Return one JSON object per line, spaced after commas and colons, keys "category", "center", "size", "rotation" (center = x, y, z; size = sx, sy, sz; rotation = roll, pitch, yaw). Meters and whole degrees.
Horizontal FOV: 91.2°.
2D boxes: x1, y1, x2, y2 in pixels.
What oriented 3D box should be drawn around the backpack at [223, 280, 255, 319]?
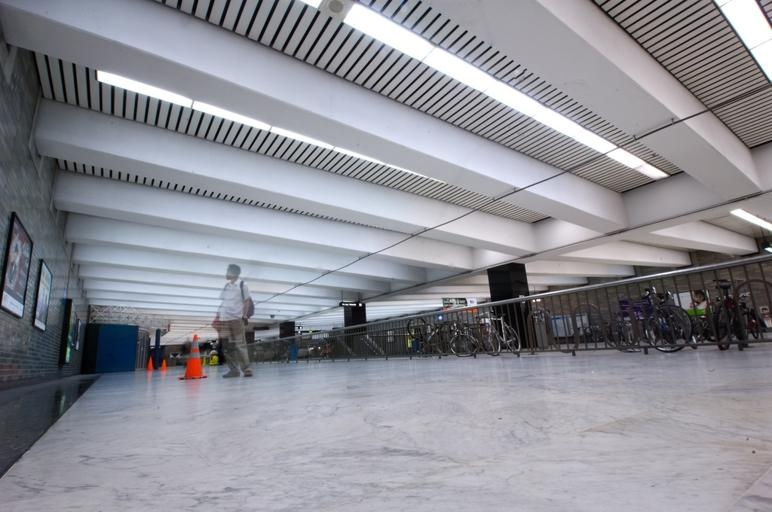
{"category": "backpack", "center": [-2.710, 0.800, 7.102], "size": [0.637, 0.745, 0.231], "rotation": [-5, -13, 6]}
